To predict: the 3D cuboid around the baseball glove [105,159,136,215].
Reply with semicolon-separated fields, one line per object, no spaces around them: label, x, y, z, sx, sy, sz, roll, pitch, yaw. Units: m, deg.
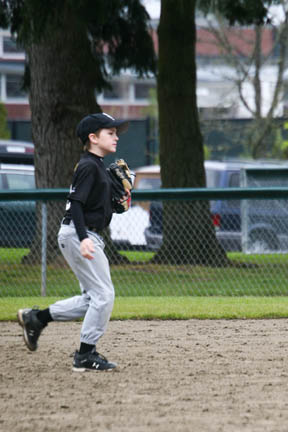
baseball glove;-0.167;-0.219;7.518;0.104;0.391;0.248;-8;-1;9
